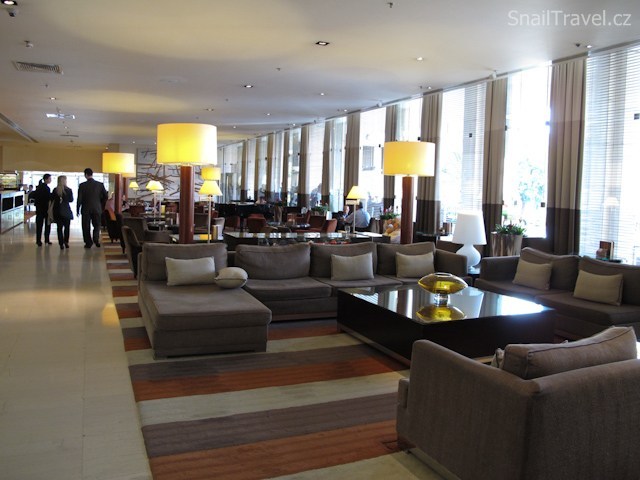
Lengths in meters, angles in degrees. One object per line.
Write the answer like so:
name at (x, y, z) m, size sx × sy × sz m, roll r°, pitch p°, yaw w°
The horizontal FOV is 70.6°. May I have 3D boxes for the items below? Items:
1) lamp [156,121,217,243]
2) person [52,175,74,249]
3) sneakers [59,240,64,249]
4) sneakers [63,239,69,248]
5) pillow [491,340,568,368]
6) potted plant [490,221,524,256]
lamp at (-1.582, -0.651, 5.372) m, size 0.653 × 1.433 × 0.966 m, roll -1°, pitch 9°, yaw -18°
person at (-6.100, -0.670, 10.709) m, size 0.437 × 1.709 × 1.072 m, roll -3°, pitch 10°, yaw -30°
sneakers at (-6.075, 0.114, 10.607) m, size 0.081 × 0.199 × 0.084 m, roll -1°, pitch -1°, yaw -9°
sneakers at (-6.055, 0.090, 10.857) m, size 0.128 × 0.135 × 0.379 m, roll -2°, pitch 7°, yaw -18°
pillow at (1.065, 0.568, 2.385) m, size 0.240 × 0.092 × 0.216 m, roll -3°, pitch 4°, yaw -12°
potted plant at (3.479, 0.017, 8.112) m, size 0.609 × 0.593 × 0.606 m, roll 2°, pitch 0°, yaw 38°
